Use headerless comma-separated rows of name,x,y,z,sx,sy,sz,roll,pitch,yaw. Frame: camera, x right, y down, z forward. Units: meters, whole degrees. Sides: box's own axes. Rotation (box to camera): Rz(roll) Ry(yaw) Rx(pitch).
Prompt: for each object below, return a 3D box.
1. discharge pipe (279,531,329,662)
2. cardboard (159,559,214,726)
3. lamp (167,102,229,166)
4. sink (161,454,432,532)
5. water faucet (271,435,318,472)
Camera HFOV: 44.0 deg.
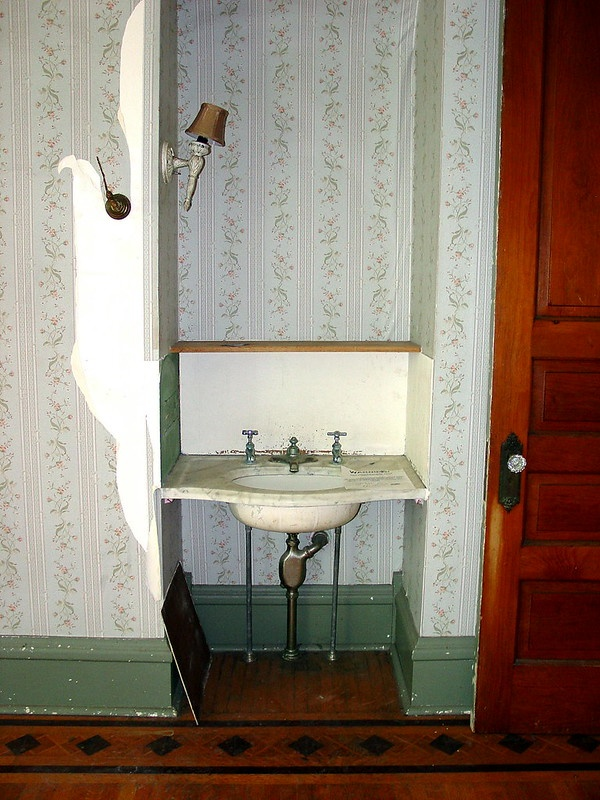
discharge pipe,0.011,0.754,2.886,0.175,0.614,0.310,0,10,0
cardboard,-0.416,0.904,2.701,0.025,0.350,0.502,-22,34,4
lamp,-0.337,-0.850,2.387,0.186,0.193,0.294,-1,10,-10
sink,-0.022,0.356,2.684,0.891,0.196,0.565,0,10,-2
water faucet,-0.029,0.205,2.849,0.141,0.093,0.139,-1,0,-1
